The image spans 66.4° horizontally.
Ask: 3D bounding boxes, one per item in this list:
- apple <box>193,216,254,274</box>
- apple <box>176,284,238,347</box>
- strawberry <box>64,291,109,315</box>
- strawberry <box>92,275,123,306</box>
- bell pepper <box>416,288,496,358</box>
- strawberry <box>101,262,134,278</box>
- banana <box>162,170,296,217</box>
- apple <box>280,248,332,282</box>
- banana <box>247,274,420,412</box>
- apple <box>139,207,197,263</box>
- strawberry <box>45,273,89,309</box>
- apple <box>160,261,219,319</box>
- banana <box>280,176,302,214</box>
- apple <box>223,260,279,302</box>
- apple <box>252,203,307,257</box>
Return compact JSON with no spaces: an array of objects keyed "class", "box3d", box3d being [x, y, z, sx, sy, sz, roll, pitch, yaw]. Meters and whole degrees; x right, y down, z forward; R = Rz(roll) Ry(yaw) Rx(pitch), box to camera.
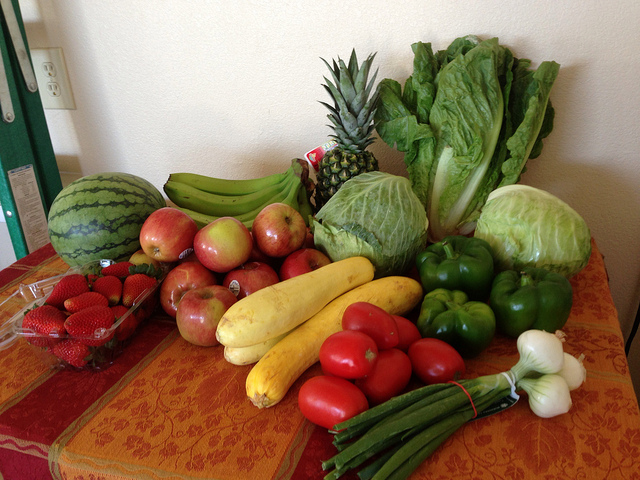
[{"class":"apple","box3d":[-0.237,0.016,1.251,0.126,0.126,0.130,-32,15,11]},{"class":"apple","box3d":[-0.268,0.171,1.190,0.127,0.131,0.134,-3,18,-3]},{"class":"strawberry","box3d":[-0.519,0.136,1.092,0.082,0.043,0.044,-16,75,-25]},{"class":"strawberry","box3d":[-0.491,0.111,1.137,0.051,0.056,0.066,-13,36,-43]},{"class":"bell pepper","box3d":[0.312,0.163,1.137,0.137,0.125,0.148,2,18,-8]},{"class":"strawberry","box3d":[-0.495,0.072,1.196,0.061,0.035,0.034,-5,8,-23]},{"class":"banana","box3d":[-0.269,-0.166,1.531,0.435,0.171,0.106,-8,56,-44]},{"class":"apple","box3d":[-0.037,0.064,1.254,0.132,0.067,0.081,-26,45,-33]},{"class":"banana","box3d":[0.074,0.218,1.165,0.544,0.139,0.162,-40,9,-16]},{"class":"apple","box3d":[-0.389,-0.006,1.297,0.126,0.130,0.123,35,52,26]},{"class":"strawberry","box3d":[-0.572,0.112,1.108,0.052,0.055,0.106,45,50,13]},{"class":"apple","box3d":[-0.340,0.143,1.277,0.155,0.177,0.159,7,8,10]},{"class":"banana","box3d":[-0.076,-0.138,1.461,0.055,0.027,0.106,11,71,-6]},{"class":"apple","box3d":[-0.170,0.094,1.199,0.096,0.102,0.102,-7,14,-2]},{"class":"apple","box3d":[-0.109,-0.026,1.297,0.123,0.134,0.123,2,37,-38]}]
